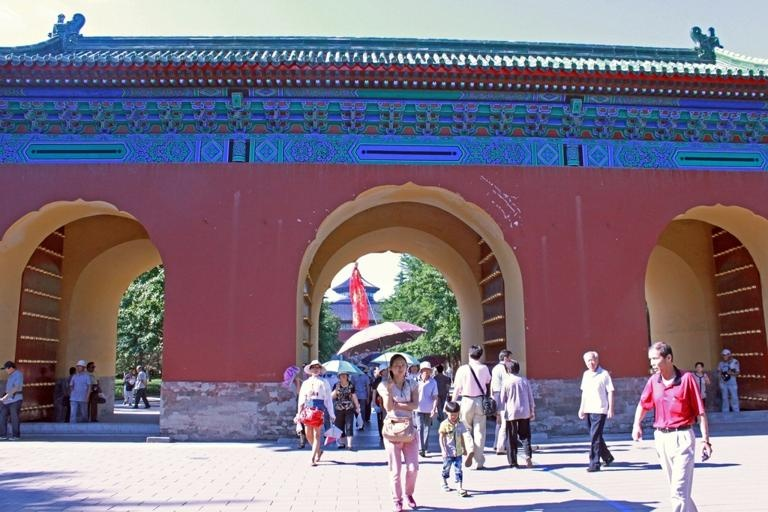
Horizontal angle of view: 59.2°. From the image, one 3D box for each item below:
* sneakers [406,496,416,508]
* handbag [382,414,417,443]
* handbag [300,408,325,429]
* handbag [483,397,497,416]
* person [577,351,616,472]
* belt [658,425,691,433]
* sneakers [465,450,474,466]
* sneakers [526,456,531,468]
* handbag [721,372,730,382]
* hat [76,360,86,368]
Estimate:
[{"bbox_3d":[0.412,3.741,10.291,0.145,0.200,0.104,-2,-13,-2],"label":"sneakers"},{"bbox_3d":[0.214,2.645,10.232,0.451,0.349,0.181,2,-2,4],"label":"handbag"},{"bbox_3d":[-1.322,3.037,12.679,0.597,0.421,0.329,-3,-21,9],"label":"handbag"},{"bbox_3d":[1.847,2.721,12.164,0.218,0.285,0.270,8,-11,-5],"label":"handbag"},{"bbox_3d":[3.801,2.753,12.112,0.593,2.071,0.577,-6,-14,16],"label":"person"},{"bbox_3d":[3.966,2.381,9.294,0.410,0.075,0.116,-9,-15,25],"label":"belt"},{"bbox_3d":[1.460,3.490,11.648,0.143,0.259,0.101,6,-18,-2],"label":"sneakers"},{"bbox_3d":[2.610,3.745,12.261,0.076,0.170,0.072,-2,-11,0],"label":"sneakers"},{"bbox_3d":[8.440,2.996,16.763,0.174,0.209,0.121,-3,-1,33],"label":"handbag"},{"bbox_3d":[-7.708,2.750,17.195,0.235,0.251,0.252,5,0,-22],"label":"hat"}]
